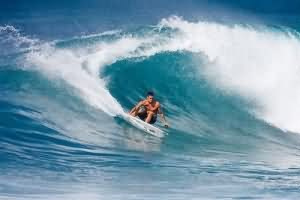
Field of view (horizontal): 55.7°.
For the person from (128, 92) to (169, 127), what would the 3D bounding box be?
[{"bbox_3d":[-0.120,0.471,13.262,1.885,0.982,1.373,5,84,3],"label":"person"}]
